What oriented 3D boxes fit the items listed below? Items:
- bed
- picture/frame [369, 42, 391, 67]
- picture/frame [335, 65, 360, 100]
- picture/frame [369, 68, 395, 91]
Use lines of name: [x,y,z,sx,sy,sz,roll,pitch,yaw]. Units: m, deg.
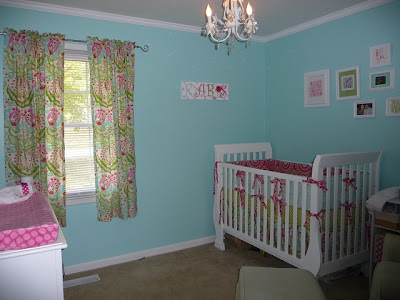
bed: [0.965,0.511,3.511,1.049,1.182,1.479,-4,10,-25]
picture/frame: [1.795,-0.942,3.140,0.175,0.216,0.026,1,36,30]
picture/frame: [1.598,-0.725,3.382,0.036,0.497,0.344,-5,7,-32]
picture/frame: [1.818,-0.694,3.120,0.025,0.247,0.228,-7,6,-41]
